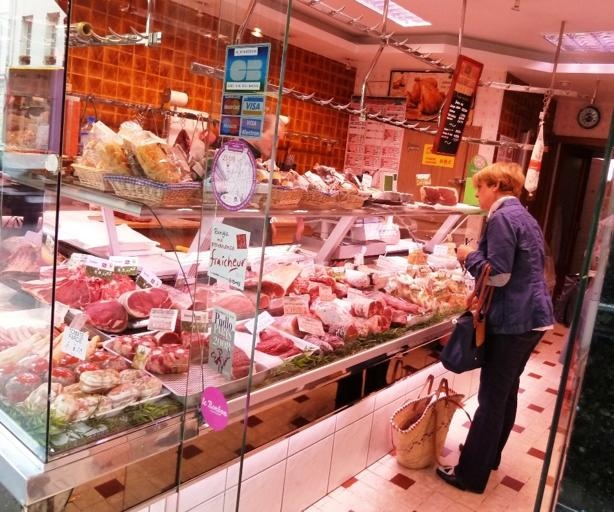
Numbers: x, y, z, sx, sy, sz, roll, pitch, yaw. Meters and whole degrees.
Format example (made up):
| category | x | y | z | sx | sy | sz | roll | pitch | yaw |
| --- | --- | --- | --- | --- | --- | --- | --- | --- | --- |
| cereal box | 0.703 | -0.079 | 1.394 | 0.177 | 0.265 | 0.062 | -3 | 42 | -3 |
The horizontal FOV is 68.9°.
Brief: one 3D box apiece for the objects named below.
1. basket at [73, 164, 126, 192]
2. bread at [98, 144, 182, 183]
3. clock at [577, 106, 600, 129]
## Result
| category | x | y | z | sx | sy | sz | roll | pitch | yaw |
| --- | --- | --- | --- | --- | --- | --- | --- | --- | --- |
| basket | -0.673 | -0.268 | 1.444 | 0.133 | 0.043 | 0.097 | 18 | 9 | 20 |
| bread | -0.471 | -0.285 | 1.368 | 0.137 | 0.055 | 0.151 | 8 | 41 | -26 |
| clock | 4.457 | -2.207 | 7.085 | 0.347 | 0.315 | 0.104 | 14 | 10 | 42 |
